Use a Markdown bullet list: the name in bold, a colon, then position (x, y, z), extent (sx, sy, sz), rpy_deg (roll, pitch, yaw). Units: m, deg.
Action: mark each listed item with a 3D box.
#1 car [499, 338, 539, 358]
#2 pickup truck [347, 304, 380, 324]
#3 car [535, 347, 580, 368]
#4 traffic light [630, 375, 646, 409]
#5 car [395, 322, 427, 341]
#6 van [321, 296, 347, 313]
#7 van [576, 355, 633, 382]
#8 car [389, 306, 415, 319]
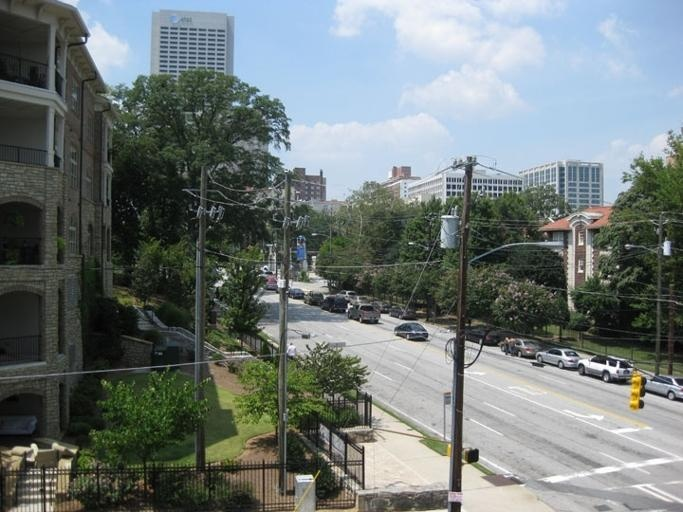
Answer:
- **car**: position (13.552, 6.978, 72.516), extent (1.079, 0.829, 2.540), rpy_deg (3, 4, -24)
- **pickup truck**: position (1.895, 5.164, 86.637), extent (1.297, 1.234, 2.966), rpy_deg (3, 1, -18)
- **car**: position (15.820, 7.352, 68.986), extent (1.227, 1.033, 2.939), rpy_deg (4, 2, -23)
- **traffic light**: position (15.347, 7.247, 49.787), extent (0.812, 1.734, 0.722), rpy_deg (-15, -37, 39)
- **car**: position (5.470, 6.300, 77.918), extent (1.317, 0.981, 2.768), rpy_deg (2, 4, -17)
- **van**: position (-0.787, 4.778, 94.403), extent (1.223, 1.048, 2.298), rpy_deg (2, 5, -19)
- **van**: position (18.233, 7.698, 65.032), extent (1.459, 1.146, 2.649), rpy_deg (3, 3, -30)
- **car**: position (5.761, 5.271, 89.604), extent (1.059, 0.848, 2.629), rpy_deg (3, 4, -13)
